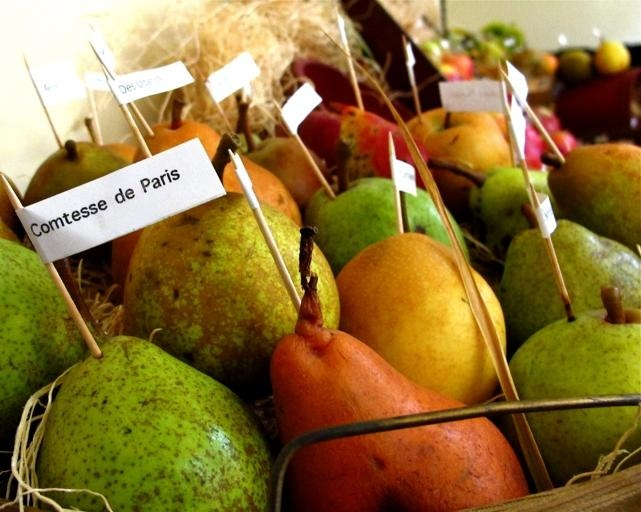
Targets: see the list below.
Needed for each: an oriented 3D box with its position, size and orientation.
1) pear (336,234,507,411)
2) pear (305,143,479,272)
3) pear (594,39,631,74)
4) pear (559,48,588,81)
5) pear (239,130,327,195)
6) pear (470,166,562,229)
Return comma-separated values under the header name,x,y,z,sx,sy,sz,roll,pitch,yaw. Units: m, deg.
name,x,y,z,sx,sy,sz,roll,pitch,yaw
pear,0.096,0.062,0.830,0.176,0.238,0.190,-16,2,-12
pear,0.097,-0.047,0.937,0.148,0.195,0.163,-25,12,-3
pear,1.190,-0.841,2.693,0.133,0.153,0.170,-10,21,-15
pear,1.086,-0.818,2.734,0.105,0.114,0.109,-27,9,-34
pear,-0.060,-0.157,1.078,0.105,0.130,0.109,-40,21,-1
pear,0.317,-0.114,1.014,0.106,0.089,0.092,5,49,15
